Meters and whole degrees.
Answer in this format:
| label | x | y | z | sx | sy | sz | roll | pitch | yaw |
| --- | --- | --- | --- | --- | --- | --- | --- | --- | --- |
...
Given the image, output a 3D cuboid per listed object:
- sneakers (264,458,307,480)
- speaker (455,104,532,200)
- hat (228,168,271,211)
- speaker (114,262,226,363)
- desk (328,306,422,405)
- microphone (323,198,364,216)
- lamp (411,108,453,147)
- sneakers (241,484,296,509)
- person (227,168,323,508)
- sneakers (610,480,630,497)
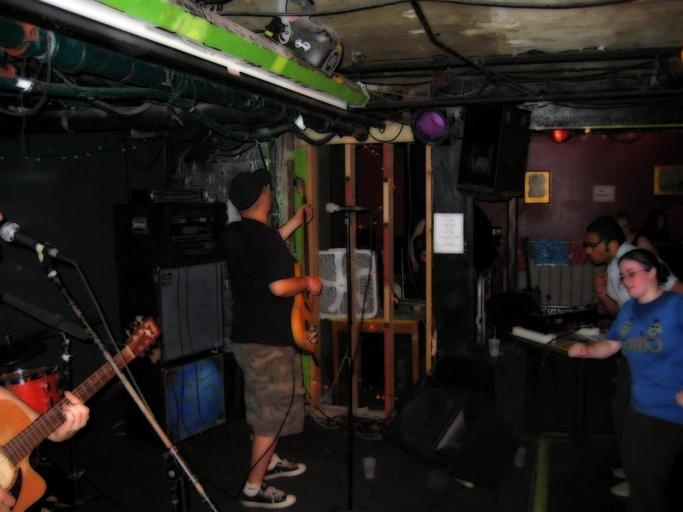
| label | x | y | z | sx | sy | sz | roll | pitch | yaw |
| --- | --- | --- | --- | --- | --- | --- | --- | --- | --- |
| sneakers | -0.517 | 1.944 | 5.616 | 0.388 | 0.157 | 0.143 | -1 | 0 | -15 |
| speaker | 1.501 | -1.058 | 6.125 | 0.588 | 0.872 | 0.592 | 9 | 8 | 26 |
| hat | -0.754 | -0.546 | 5.127 | 0.326 | 0.347 | 0.156 | -2 | 6 | -10 |
| speaker | -1.672 | 0.332 | 6.618 | 0.753 | 1.075 | 1.035 | -10 | 30 | -25 |
| desk | 0.553 | 1.248 | 7.247 | 0.913 | 1.241 | 1.283 | -3 | -5 | 33 |
| microphone | -0.054 | -0.397 | 5.179 | 0.491 | 0.151 | 0.141 | 3 | 7 | -9 |
| lamp | 0.896 | -1.350 | 6.212 | 0.393 | 0.256 | 0.402 | 12 | -32 | 6 |
| sneakers | -0.596 | 2.002 | 5.223 | 0.495 | 0.204 | 0.186 | 2 | -5 | -7 |
| person | -0.587 | 0.686 | 5.311 | 0.772 | 2.839 | 0.676 | -5 | 7 | -37 |
| sneakers | 2.374 | 1.978 | 5.298 | 0.140 | 0.108 | 0.273 | 2 | 6 | 25 |
